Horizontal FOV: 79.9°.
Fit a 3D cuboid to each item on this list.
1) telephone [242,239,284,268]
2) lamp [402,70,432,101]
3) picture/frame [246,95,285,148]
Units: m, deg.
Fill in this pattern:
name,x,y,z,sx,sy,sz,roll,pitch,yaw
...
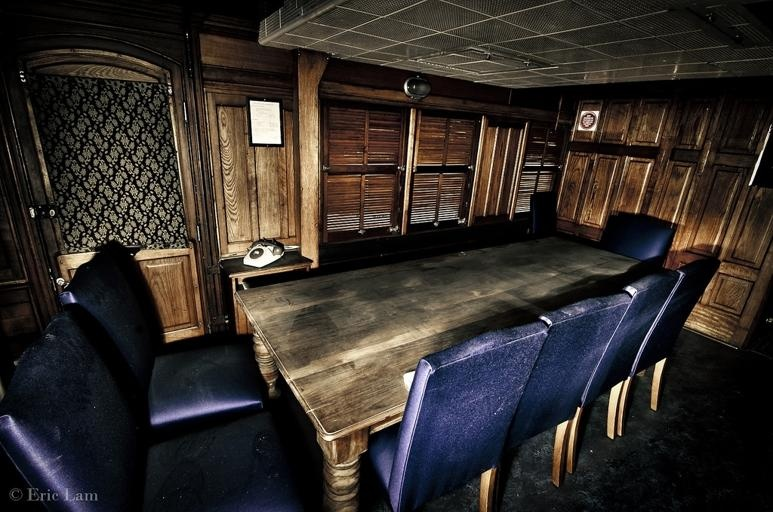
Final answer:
name,x,y,z,sx,sy,sz,roll,pitch,yaw
telephone,-1.155,-0.026,4.310,0.251,0.129,0.331,13,20,37
lamp,0.309,-1.704,4.693,0.289,0.214,0.175,-3,17,-10
picture/frame,-1.126,-1.241,4.191,0.476,0.493,0.037,-12,28,-32
